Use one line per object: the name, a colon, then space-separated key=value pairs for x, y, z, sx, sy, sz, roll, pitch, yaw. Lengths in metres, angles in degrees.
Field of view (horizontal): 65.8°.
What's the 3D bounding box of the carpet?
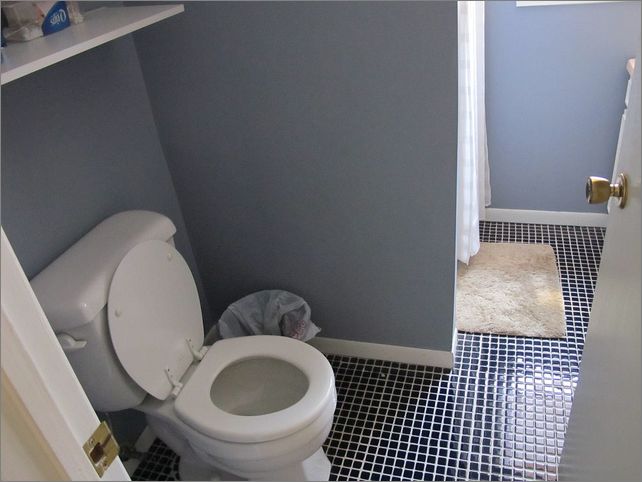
carpet: x=0.995 y=0.227 z=2.635 sx=0.541 sy=0.042 sz=0.610 roll=-4 pitch=51 yaw=16
